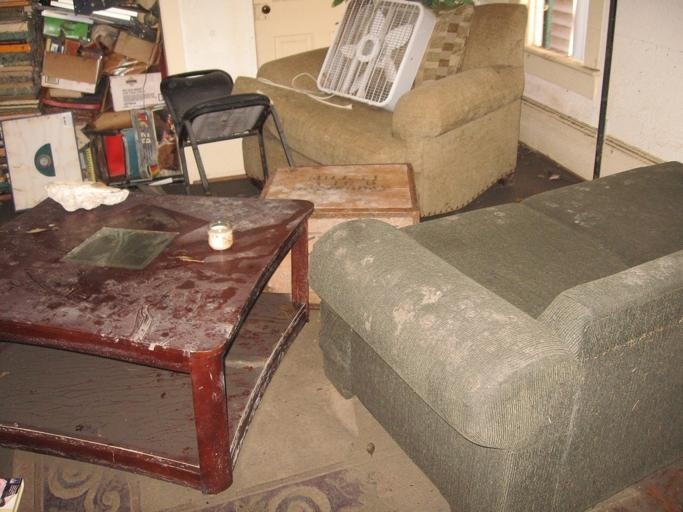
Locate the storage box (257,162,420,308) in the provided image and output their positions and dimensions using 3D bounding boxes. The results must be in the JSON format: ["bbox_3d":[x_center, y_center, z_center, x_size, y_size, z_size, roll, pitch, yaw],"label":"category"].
[{"bbox_3d":[0.003,-0.097,2.482,0.787,0.391,0.628,0,32,4],"label":"storage box"}]

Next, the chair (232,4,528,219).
[{"bbox_3d":[0.240,-0.760,2.956,1.312,0.831,0.964,28,44,35],"label":"chair"}]

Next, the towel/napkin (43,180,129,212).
[{"bbox_3d":[-0.984,-0.237,2.127,0.218,0.060,0.148,-6,13,-18],"label":"towel/napkin"}]

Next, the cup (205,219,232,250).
[{"bbox_3d":[-0.397,-0.074,1.871,0.102,0.081,0.092,-12,30,-23],"label":"cup"}]
